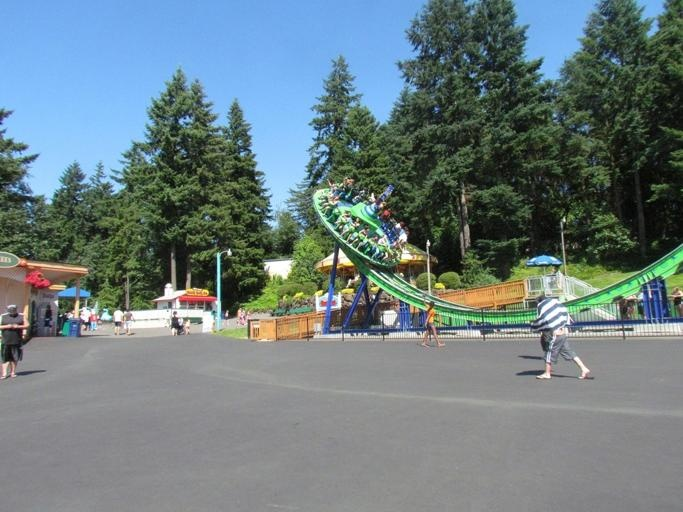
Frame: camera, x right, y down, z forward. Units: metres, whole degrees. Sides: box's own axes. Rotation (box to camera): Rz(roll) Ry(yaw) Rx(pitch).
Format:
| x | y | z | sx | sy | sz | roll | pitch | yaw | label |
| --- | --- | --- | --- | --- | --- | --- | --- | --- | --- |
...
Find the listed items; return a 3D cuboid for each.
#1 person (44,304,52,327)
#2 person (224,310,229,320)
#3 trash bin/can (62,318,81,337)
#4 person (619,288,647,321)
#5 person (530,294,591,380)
| x | y | z | sx | sy | sz | roll | pitch | yaw | label |
| --- | --- | --- | --- | --- | --- | --- | --- | --- | --- |
| -19.102 | 3.874 | 34.089 | 0.439 | 1.457 | 1.649 | -1 | -2 | -30 | person |
| -12.491 | 6.407 | 56.987 | 0.449 | 1.441 | 0.440 | 0 | 19 | -2 | person |
| -17.233 | 4.526 | 33.463 | 1.035 | 1.518 | 1.063 | 2 | -10 | -20 | trash bin/can |
| 11.962 | 2.015 | 21.570 | 0.850 | 0.934 | 0.705 | -2 | -20 | 3 | person |
| 5.331 | 1.984 | 12.960 | 1.138 | 1.814 | 0.848 | -2 | -1 | 19 | person |
